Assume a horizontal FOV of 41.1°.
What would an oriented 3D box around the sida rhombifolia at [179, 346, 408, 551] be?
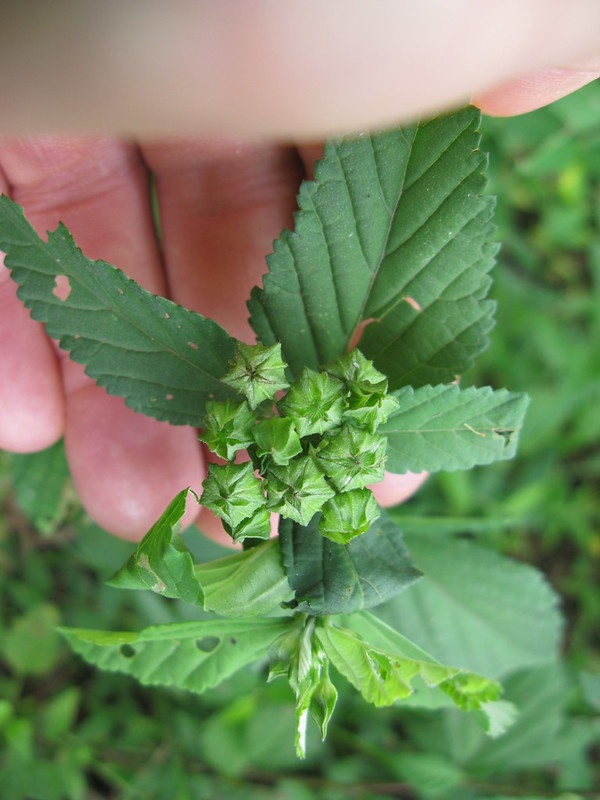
[{"bbox_3d":[-0.004,0.045,0.745,0.234,0.175,0.074,1,-9,0],"label":"sida rhombifolia"}]
